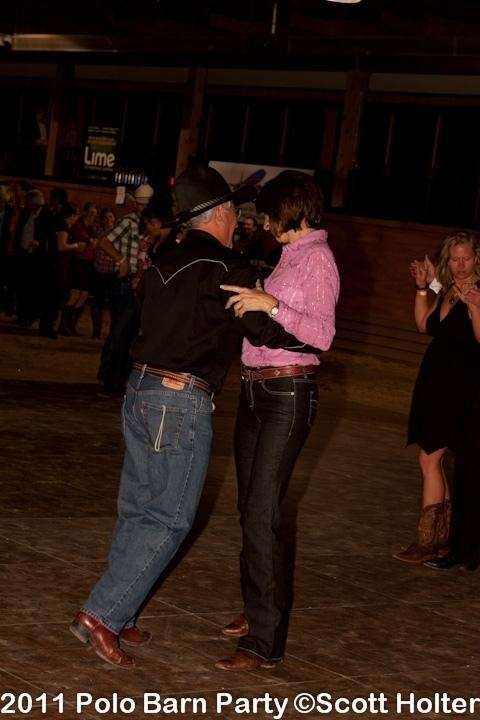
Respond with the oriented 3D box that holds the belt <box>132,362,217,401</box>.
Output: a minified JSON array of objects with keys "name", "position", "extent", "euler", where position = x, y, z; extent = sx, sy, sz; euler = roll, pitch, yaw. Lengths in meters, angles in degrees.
[{"name":"belt","position":[-0.214,0.061,1.930],"extent":[0.278,0.072,0.168],"euler":[8,-4,-3]}]

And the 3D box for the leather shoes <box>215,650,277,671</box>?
[{"name":"leather shoes","position":[0.017,1.033,2.081],"extent":[0.217,0.084,0.074],"euler":[7,-8,-12]}]
